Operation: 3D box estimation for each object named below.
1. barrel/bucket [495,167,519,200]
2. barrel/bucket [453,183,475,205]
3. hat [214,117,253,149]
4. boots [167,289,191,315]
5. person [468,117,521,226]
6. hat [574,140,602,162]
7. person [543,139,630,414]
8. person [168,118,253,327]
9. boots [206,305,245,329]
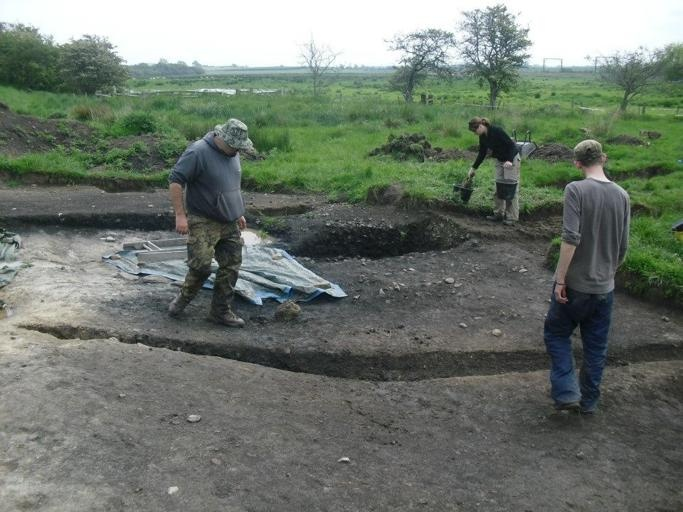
[{"bbox_3d":[2.890,-1.283,10.687,0.486,0.391,0.511,0,25,0],"label":"barrel/bucket"},{"bbox_3d":[2.270,-1.165,11.284,0.369,0.273,0.374,5,24,-2],"label":"barrel/bucket"},{"bbox_3d":[-1.224,-1.430,6.822,0.489,0.193,0.441,9,35,-25],"label":"hat"},{"bbox_3d":[-2.019,0.600,7.371,0.177,0.195,0.443,22,25,-2],"label":"boots"},{"bbox_3d":[2.737,-1.527,10.612,0.850,1.930,1.269,2,19,16],"label":"person"},{"bbox_3d":[2.455,-1.035,5.994,0.244,0.189,0.243,-10,20,-1],"label":"hat"},{"bbox_3d":[2.416,0.249,5.970,0.604,2.681,0.997,10,22,34],"label":"person"},{"bbox_3d":[-1.491,-0.315,7.059,0.928,2.503,0.363,-10,19,-19],"label":"person"},{"bbox_3d":[-1.452,0.724,7.425,0.511,0.355,0.195,0,24,-17],"label":"boots"}]
